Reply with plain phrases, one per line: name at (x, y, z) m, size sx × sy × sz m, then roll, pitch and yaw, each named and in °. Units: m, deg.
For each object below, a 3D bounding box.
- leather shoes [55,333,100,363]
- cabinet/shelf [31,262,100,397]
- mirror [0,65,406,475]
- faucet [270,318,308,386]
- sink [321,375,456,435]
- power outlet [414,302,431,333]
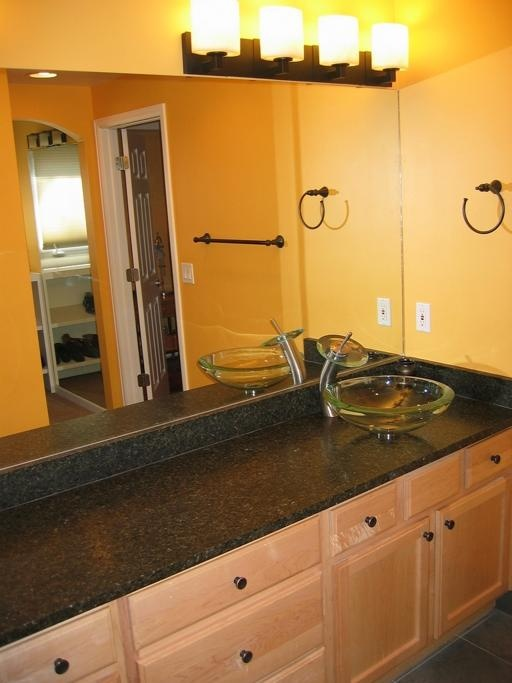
leather shoes at (-0.456, 0.019, 1.499) m, size 0.043 × 0.047 × 0.123 m, roll -2°, pitch -4°, yaw 5°
cabinet/shelf at (-0.475, 0.007, 1.499) m, size 0.143 × 0.375 × 0.087 m, roll -13°, pitch 15°, yaw -30°
mirror at (-0.170, -0.197, 1.728) m, size 1.400 × 0.929 × 0.023 m, roll -7°, pitch 11°, yaw -42°
faucet at (0.135, 0.057, 2.107) m, size 0.129 × 0.380 × 0.098 m, roll -9°, pitch 44°, yaw -2°
sink at (0.445, 0.214, 1.921) m, size 0.425 × 0.137 × 0.421 m, roll -2°, pitch 12°, yaw 18°
power outlet at (0.664, -0.092, 2.356) m, size 0.010 × 0.119 × 0.072 m, roll -14°, pitch 15°, yaw -32°
